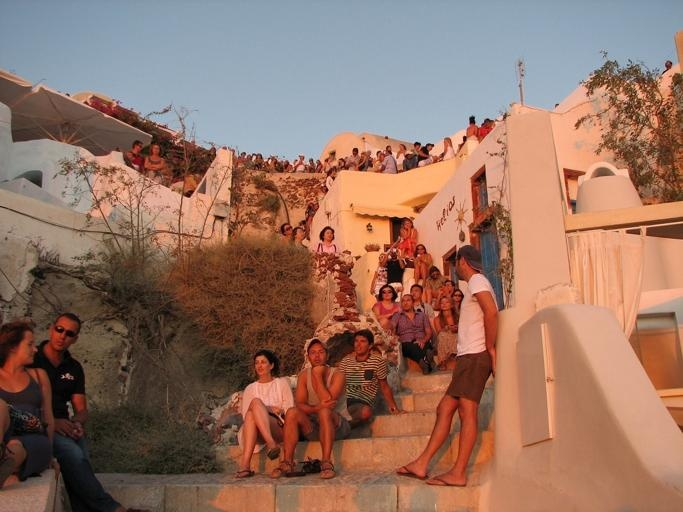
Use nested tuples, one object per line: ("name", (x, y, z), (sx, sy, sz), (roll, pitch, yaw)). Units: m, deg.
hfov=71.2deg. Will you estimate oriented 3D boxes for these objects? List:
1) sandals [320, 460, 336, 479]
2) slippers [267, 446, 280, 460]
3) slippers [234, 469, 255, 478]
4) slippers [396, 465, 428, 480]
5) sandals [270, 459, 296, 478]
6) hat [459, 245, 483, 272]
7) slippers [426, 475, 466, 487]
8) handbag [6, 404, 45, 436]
("sandals", (-0.140, 2.400, 5.395), (0.156, 0.175, 0.207), (1, -16, 0))
("slippers", (-0.782, 2.316, 5.636), (0.125, 0.134, 0.208), (2, -17, -6))
("slippers", (-1.114, 2.538, 5.561), (0.159, 0.066, 0.092), (15, -24, -25))
("slippers", (0.748, 2.255, 5.020), (0.334, 0.117, 0.136), (9, -12, 42))
("sandals", (-0.649, 2.481, 5.545), (0.333, 0.152, 0.127), (12, -20, -26))
("hat", (1.414, 0.029, 5.136), (0.299, 0.302, 0.183), (5, -16, -14))
("slippers", (1.042, 2.196, 4.663), (0.292, 0.059, 0.145), (1, -5, 18))
("handbag", (-2.900, 1.514, 4.397), (0.213, 0.250, 0.587), (0, -17, 1))
